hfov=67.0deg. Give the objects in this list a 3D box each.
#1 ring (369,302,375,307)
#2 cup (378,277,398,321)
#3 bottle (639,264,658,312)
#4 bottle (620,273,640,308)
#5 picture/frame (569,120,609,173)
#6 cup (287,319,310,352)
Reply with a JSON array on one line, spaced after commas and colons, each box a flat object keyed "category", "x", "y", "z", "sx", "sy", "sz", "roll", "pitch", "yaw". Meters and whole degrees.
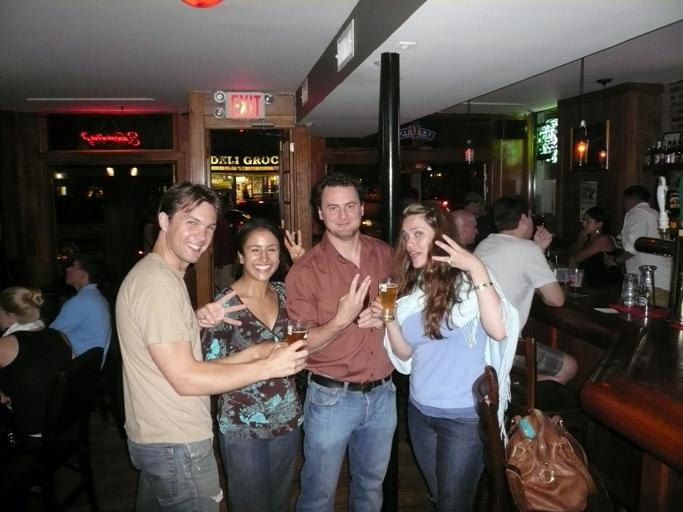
[{"category": "ring", "x": 0.176, "y": 0.272, "z": 2.858, "sx": 0.039, "sy": 0.014, "sz": 0.028, "roll": -8, "pitch": 1, "yaw": -9}, {"category": "cup", "x": 0.248, "y": 0.237, "z": 2.750, "sx": 0.091, "sy": 0.231, "sz": 0.125, "roll": -1, "pitch": 8, "yaw": 5}, {"category": "bottle", "x": 2.297, "y": 0.239, "z": 3.889, "sx": 0.104, "sy": 0.332, "sz": 0.443, "roll": 2, "pitch": 9, "yaw": 30}, {"category": "bottle", "x": 2.160, "y": 0.259, "z": 3.868, "sx": 0.117, "sy": 0.238, "sz": 0.146, "roll": 2, "pitch": 8, "yaw": 27}, {"category": "picture/frame", "x": 3.771, "y": -1.655, "z": 7.820, "sx": 0.060, "sy": 0.713, "sz": 0.861, "roll": -6, "pitch": 10, "yaw": -18}, {"category": "cup", "x": -0.212, "y": 0.368, "z": 2.483, "sx": 0.111, "sy": 0.172, "sz": 0.107, "roll": 0, "pitch": -10, "yaw": 0}]
